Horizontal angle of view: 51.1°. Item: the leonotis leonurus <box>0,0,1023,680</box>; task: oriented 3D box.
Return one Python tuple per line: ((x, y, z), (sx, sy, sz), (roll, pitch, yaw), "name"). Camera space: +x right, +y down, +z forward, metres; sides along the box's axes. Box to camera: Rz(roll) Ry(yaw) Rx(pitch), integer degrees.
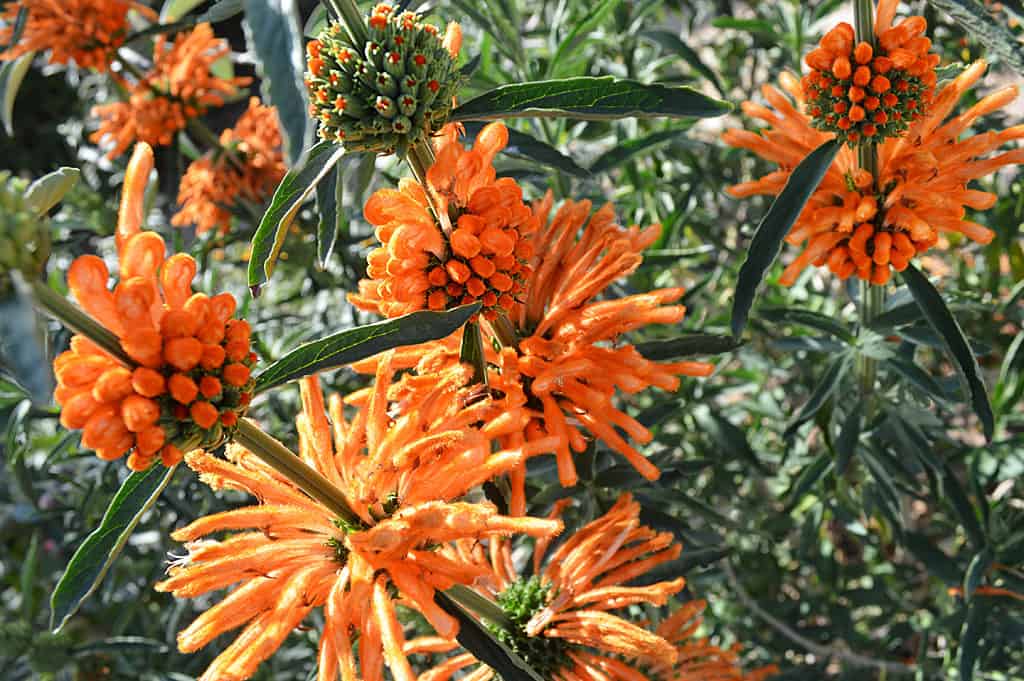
((-0.411, -0.163, 3.261), (2.029, 1.718, 0.881), (-6, 1, -5), "leonotis leonurus")
